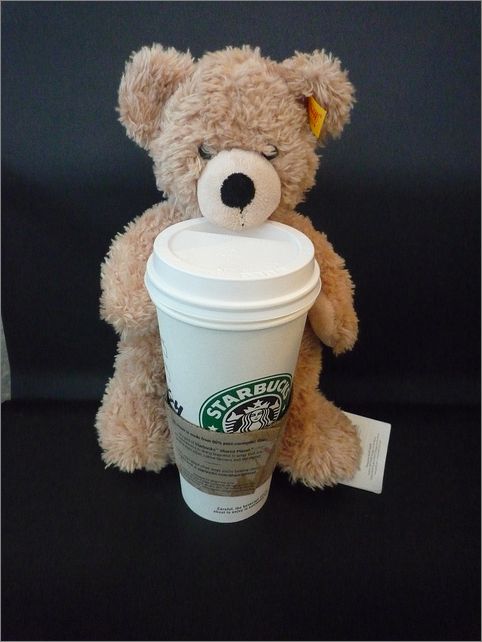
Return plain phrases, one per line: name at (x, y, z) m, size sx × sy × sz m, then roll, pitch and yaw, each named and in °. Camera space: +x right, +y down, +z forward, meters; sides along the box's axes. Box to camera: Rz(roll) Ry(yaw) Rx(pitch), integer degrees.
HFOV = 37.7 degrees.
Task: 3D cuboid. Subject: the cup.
cup at (-0.024, 0.129, 1.357) m, size 0.311 × 0.588 × 0.294 m, roll 2°, pitch 24°, yaw -1°
